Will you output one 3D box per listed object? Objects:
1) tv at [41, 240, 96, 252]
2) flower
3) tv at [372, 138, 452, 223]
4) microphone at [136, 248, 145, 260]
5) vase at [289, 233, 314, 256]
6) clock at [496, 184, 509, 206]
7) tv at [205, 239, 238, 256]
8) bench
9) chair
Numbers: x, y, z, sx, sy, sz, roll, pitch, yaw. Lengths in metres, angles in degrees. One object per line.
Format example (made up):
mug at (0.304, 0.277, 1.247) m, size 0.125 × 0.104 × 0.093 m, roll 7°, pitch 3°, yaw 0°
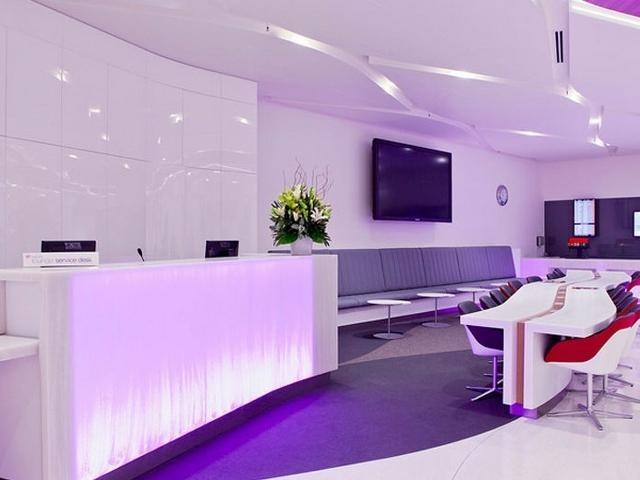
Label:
tv at (-1.813, 0.043, 3.385) m, size 0.338 × 0.071 × 0.217 m, roll -2°, pitch 3°, yaw -30°
flower at (-0.232, -0.258, 4.992) m, size 0.641 × 0.704 × 0.706 m, roll 8°, pitch 4°, yaw 17°
tv at (1.818, -1.115, 9.126) m, size 2.156 × 1.518 × 0.121 m, roll -3°, pitch 4°, yaw -36°
microphone at (-2.165, 0.159, 5.628) m, size 0.040 × 0.027 × 0.195 m, roll -30°, pitch -27°, yaw -24°
vase at (-0.203, 0.055, 4.922) m, size 0.202 × 0.157 × 0.201 m, roll 1°, pitch -1°, yaw 30°
clock at (4.373, -1.112, 11.399) m, size 0.042 × 0.541 × 0.526 m, roll 1°, pitch 3°, yaw 39°
tv at (-0.966, 0.086, 4.605) m, size 0.305 × 0.150 × 0.350 m, roll -1°, pitch 3°, yaw -14°
bench at (2.087, 0.828, 8.913) m, size 6.467 × 1.390 × 1.155 m, roll -1°, pitch -3°, yaw -35°
chair at (2.494, 1.045, 4.790) m, size 1.275 × 0.984 × 2.634 m, roll 2°, pitch 4°, yaw 36°
